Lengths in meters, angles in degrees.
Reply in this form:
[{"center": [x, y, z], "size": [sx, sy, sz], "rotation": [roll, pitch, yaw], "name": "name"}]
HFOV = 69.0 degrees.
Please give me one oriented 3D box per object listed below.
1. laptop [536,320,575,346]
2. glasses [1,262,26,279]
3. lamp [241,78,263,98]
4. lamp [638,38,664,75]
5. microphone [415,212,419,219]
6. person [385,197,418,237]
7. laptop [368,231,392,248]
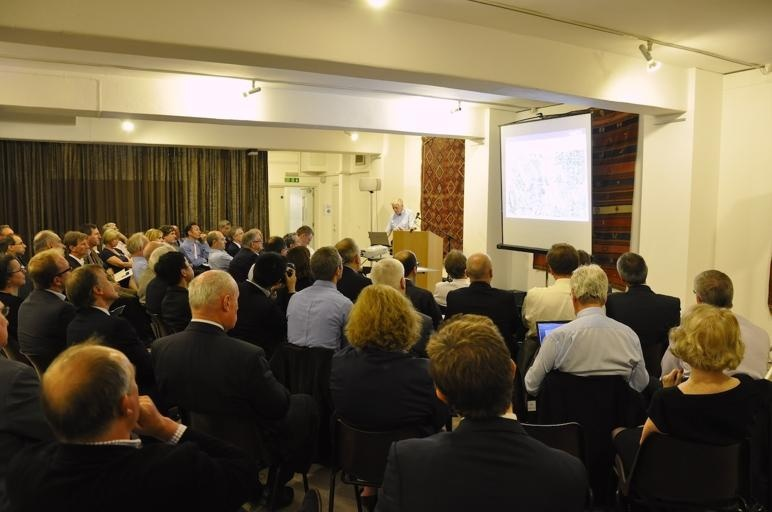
[{"center": [1.198, 0.538, 4.170], "size": [0.272, 0.196, 0.227], "rotation": [2, -4, -12], "name": "laptop"}, {"center": [-3.144, 0.120, 4.764], "size": [0.109, 0.104, 0.086], "rotation": [-38, 31, -19], "name": "glasses"}, {"center": [-1.990, -2.486, 8.324], "size": [0.300, 0.297, 1.015], "rotation": [-1, 5, -14], "name": "lamp"}, {"center": [2.979, -2.238, 6.404], "size": [0.201, 0.340, 0.672], "rotation": [2, 5, 23], "name": "lamp"}, {"center": [0.614, -0.781, 11.070], "size": [0.039, 0.111, 0.114], "rotation": [14, 13, -4], "name": "microphone"}, {"center": [0.237, -0.640, 10.812], "size": [0.556, 0.870, 0.456], "rotation": [-4, 6, 11], "name": "person"}, {"center": [-0.094, -0.310, 10.742], "size": [0.360, 0.282, 0.253], "rotation": [-2, 0, 34], "name": "laptop"}]
